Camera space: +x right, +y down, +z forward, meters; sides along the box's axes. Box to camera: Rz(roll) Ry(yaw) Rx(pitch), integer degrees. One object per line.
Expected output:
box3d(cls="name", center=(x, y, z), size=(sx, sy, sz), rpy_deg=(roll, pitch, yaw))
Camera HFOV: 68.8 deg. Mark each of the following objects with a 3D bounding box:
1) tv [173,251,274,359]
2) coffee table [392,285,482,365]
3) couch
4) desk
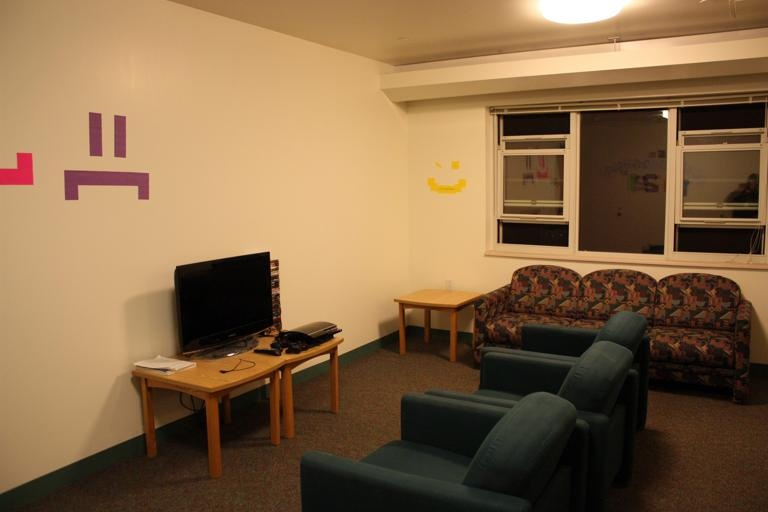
box3d(cls="tv", center=(-1.476, 0.450, 5.077), size=(0.219, 0.736, 0.930), rpy_deg=(2, 6, 38))
box3d(cls="coffee table", center=(0.470, 0.912, 7.225), size=(0.922, 0.641, 0.906), rpy_deg=(5, -4, -22))
box3d(cls="couch", center=(2.539, 0.766, 6.296), size=(2.771, 1.098, 1.013), rpy_deg=(2, 12, 28))
box3d(cls="desk", center=(-1.365, 0.888, 4.860), size=(1.040, 0.734, 1.691), rpy_deg=(3, 8, 29))
